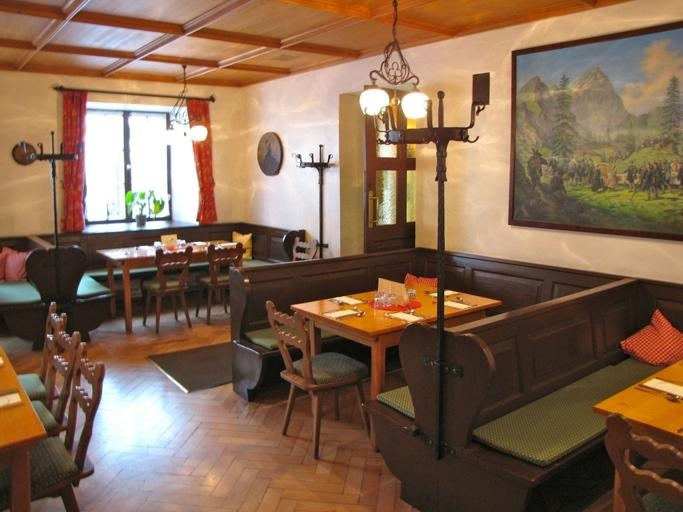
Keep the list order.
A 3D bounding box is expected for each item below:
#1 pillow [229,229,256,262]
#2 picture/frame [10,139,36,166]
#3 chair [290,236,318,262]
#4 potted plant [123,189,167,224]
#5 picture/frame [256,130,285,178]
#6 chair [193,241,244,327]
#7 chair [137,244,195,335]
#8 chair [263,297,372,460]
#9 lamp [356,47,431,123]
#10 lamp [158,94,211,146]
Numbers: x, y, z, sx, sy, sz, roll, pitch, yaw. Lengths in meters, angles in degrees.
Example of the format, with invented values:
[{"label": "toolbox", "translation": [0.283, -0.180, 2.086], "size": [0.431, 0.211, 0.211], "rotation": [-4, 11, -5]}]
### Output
[{"label": "pillow", "translation": [-1.629, -0.149, 8.564], "size": [0.517, 0.586, 0.222], "rotation": [3, 7, 26]}, {"label": "picture/frame", "translation": [-4.612, -1.480, 7.576], "size": [0.325, 0.343, 0.177], "rotation": [-8, 15, -30]}, {"label": "chair", "translation": [-0.523, -0.105, 7.770], "size": [0.339, 0.598, 0.353], "rotation": [3, 6, 29]}, {"label": "potted plant", "translation": [-3.391, -0.873, 8.989], "size": [0.504, 0.532, 0.602], "rotation": [-2, 10, -19]}, {"label": "picture/frame", "translation": [-1.224, -1.694, 8.717], "size": [0.055, 0.687, 0.674], "rotation": [-9, 14, -43]}, {"label": "chair", "translation": [-1.701, 0.364, 7.436], "size": [0.494, 0.948, 0.522], "rotation": [6, 4, -14]}, {"label": "chair", "translation": [-2.504, 0.342, 7.432], "size": [0.742, 1.148, 1.592], "rotation": [-5, 14, -21]}, {"label": "chair", "translation": [-0.167, 0.983, 4.405], "size": [0.732, 1.135, 0.653], "rotation": [-5, 7, -37]}, {"label": "lamp", "translation": [0.464, -1.532, 4.554], "size": [0.475, 0.661, 0.524], "rotation": [1, -5, 33]}, {"label": "lamp", "translation": [-2.661, -2.288, 8.867], "size": [0.538, 0.463, 0.449], "rotation": [-1, 49, -29]}]
